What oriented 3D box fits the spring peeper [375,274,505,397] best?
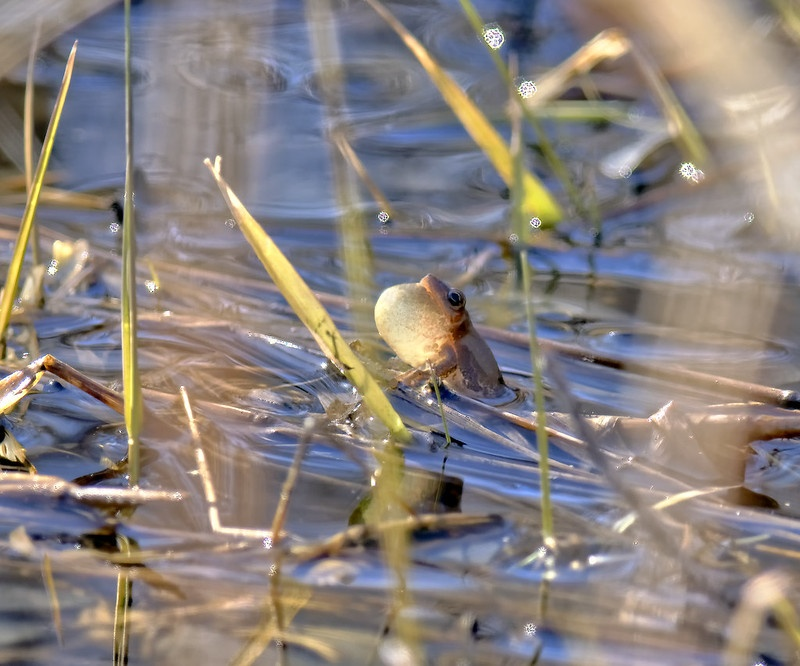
[{"bbox_3d":[0.054,0.010,1.131,0.173,0.137,0.078,48,67,-25],"label":"spring peeper"}]
